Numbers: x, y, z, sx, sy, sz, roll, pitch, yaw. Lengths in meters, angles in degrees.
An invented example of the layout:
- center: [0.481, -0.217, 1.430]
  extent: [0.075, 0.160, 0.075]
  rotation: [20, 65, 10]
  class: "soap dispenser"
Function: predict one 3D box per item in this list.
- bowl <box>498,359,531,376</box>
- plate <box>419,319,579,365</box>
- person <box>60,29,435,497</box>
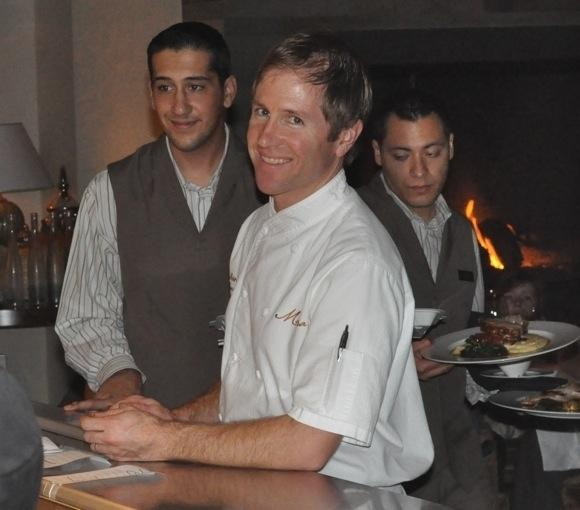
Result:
- center: [0.603, 0.304, 1.588]
  extent: [0.062, 0.033, 0.061]
  rotation: [-4, 2, 0]
  class: "bowl"
- center: [0.558, 0.228, 1.573]
  extent: [0.389, 0.094, 0.290]
  rotation: [1, 2, 15]
  class: "plate"
- center: [-0.094, -0.014, 1.488]
  extent: [0.874, 1.082, 0.815]
  rotation: [0, -1, -19]
  class: "person"
